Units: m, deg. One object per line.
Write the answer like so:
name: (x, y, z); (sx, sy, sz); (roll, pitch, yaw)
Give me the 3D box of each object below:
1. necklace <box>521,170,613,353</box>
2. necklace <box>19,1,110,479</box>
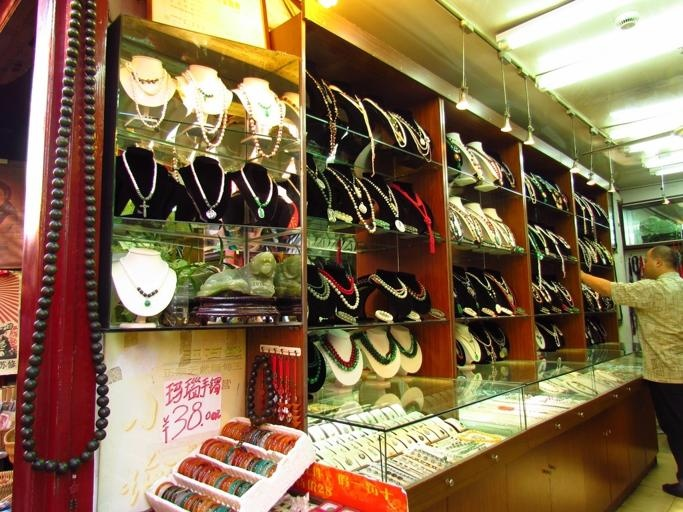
necklace: (1.914, 0.068, 4.315); (0.302, 1.551, 1.768); (-9, -5, 34)
necklace: (-0.886, -0.092, 1.615); (0.245, 1.524, 0.174); (0, -8, -32)
